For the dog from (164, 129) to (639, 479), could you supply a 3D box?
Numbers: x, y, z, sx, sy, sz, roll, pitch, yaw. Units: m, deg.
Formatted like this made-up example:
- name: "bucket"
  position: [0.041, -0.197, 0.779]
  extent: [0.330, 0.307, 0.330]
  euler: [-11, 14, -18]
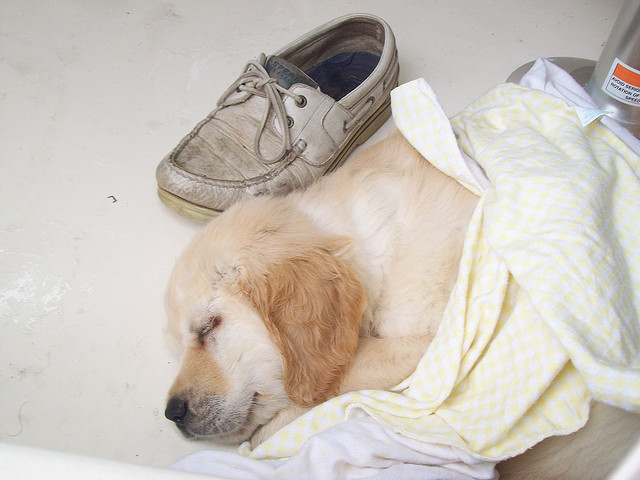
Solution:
- name: "dog"
  position: [0.116, 0.213, 1.687]
  extent: [0.905, 0.702, 0.327]
  euler: [-36, -31, 1]
